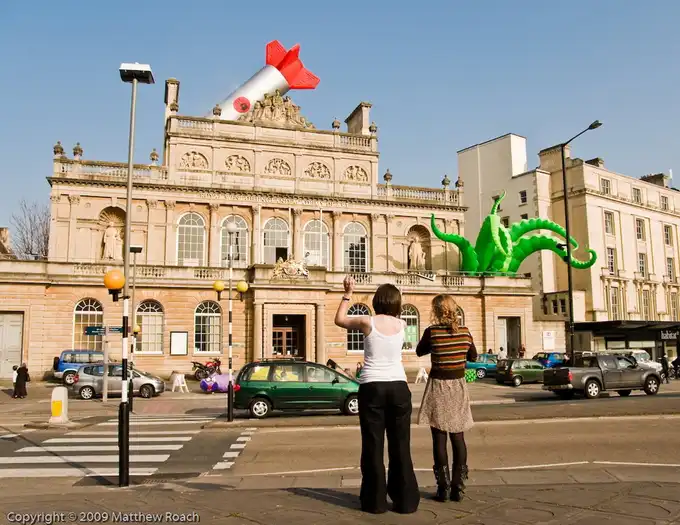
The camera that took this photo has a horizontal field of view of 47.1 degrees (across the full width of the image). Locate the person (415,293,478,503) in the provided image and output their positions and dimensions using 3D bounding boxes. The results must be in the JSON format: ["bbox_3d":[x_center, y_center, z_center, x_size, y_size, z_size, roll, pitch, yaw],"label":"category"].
[{"bbox_3d":[2.056,2.572,15.390,1.050,4.119,0.867,2,-5,9],"label":"person"}]

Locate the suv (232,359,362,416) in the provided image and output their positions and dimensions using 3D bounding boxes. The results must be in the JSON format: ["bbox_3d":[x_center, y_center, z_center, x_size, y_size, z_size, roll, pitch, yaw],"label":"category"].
[{"bbox_3d":[-1.579,4.374,27.228,4.392,1.661,2.234,-1,-10,-6],"label":"suv"}]

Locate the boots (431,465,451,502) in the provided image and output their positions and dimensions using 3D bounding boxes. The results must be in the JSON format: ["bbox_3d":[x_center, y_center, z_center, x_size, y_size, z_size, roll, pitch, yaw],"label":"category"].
[{"bbox_3d":[1.901,4.197,14.800,0.367,0.669,0.265,-3,-10,20],"label":"boots"}]

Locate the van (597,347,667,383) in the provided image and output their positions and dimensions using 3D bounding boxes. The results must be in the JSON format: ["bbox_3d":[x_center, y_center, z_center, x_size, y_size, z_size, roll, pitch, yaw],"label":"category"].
[{"bbox_3d":[13.453,4.788,36.073,2.126,3.339,3.044,-4,-9,37],"label":"van"}]

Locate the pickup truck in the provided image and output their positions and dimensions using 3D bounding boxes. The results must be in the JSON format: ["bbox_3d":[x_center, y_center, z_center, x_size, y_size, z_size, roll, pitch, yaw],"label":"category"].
[{"bbox_3d":[10.714,4.625,31.764,4.397,1.801,0.974,2,-9,-15],"label":"pickup truck"}]

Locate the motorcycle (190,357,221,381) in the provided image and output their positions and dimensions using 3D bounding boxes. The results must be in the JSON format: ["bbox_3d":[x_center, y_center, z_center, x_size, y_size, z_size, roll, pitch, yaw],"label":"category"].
[{"bbox_3d":[-6.923,5.603,40.119,2.116,1.156,1.119,-9,-6,24],"label":"motorcycle"}]

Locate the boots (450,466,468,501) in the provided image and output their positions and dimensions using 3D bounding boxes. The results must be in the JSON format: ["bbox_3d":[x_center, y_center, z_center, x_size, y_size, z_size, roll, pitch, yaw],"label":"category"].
[{"bbox_3d":[2.237,4.198,14.784,0.192,0.650,0.318,-9,-13,44],"label":"boots"}]

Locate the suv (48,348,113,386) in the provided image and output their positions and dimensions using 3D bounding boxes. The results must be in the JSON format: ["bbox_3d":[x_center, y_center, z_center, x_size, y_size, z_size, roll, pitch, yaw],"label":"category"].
[{"bbox_3d":[-12.785,5.282,39.667,3.280,1.605,1.805,-1,-1,-10],"label":"suv"}]

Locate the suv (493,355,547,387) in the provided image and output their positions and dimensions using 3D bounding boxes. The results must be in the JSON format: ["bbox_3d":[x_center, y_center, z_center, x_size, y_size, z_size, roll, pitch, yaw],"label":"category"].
[{"bbox_3d":[9.626,5.837,41.763,2.535,1.118,1.443,-2,-1,-18],"label":"suv"}]
